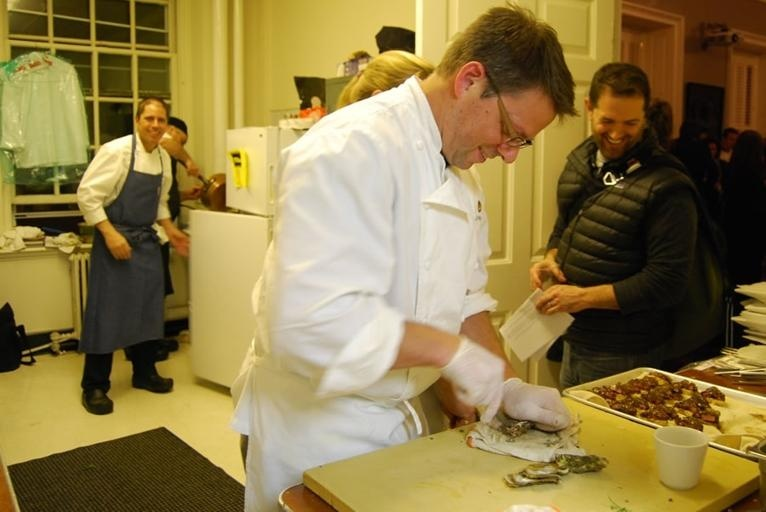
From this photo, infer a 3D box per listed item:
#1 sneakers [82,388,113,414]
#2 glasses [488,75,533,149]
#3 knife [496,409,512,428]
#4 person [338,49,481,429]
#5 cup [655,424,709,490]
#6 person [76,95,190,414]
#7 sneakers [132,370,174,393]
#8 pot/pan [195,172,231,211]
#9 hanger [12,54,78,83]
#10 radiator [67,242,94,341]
[{"bbox_3d":[-2.115,1.053,4.032,0.307,0.138,0.162,11,16,40],"label":"sneakers"},{"bbox_3d":[0.363,-0.410,1.570,0.054,0.178,0.170,-13,-6,23],"label":"glasses"},{"bbox_3d":[0.366,0.492,1.659,0.049,0.048,0.018,-50,6,-35],"label":"knife"},{"bbox_3d":[0.102,-0.103,1.983,0.372,1.135,0.889,-10,-14,27],"label":"person"},{"bbox_3d":[0.812,0.562,1.516,0.146,0.129,0.157,-3,-3,0],"label":"cup"},{"bbox_3d":[-1.913,-0.043,4.132,0.876,2.250,0.521,-10,16,-41],"label":"person"},{"bbox_3d":[-1.836,1.003,4.406,0.358,0.149,0.133,1,1,21],"label":"sneakers"},{"bbox_3d":[-1.359,-0.533,4.421,0.115,0.290,0.349,37,17,21],"label":"pot/pan"},{"bbox_3d":[-2.975,-1.670,4.785,0.335,0.106,0.295,6,-3,-30],"label":"hanger"},{"bbox_3d":[-2.618,0.264,4.708,0.120,0.852,0.800,-3,10,-35],"label":"radiator"}]
